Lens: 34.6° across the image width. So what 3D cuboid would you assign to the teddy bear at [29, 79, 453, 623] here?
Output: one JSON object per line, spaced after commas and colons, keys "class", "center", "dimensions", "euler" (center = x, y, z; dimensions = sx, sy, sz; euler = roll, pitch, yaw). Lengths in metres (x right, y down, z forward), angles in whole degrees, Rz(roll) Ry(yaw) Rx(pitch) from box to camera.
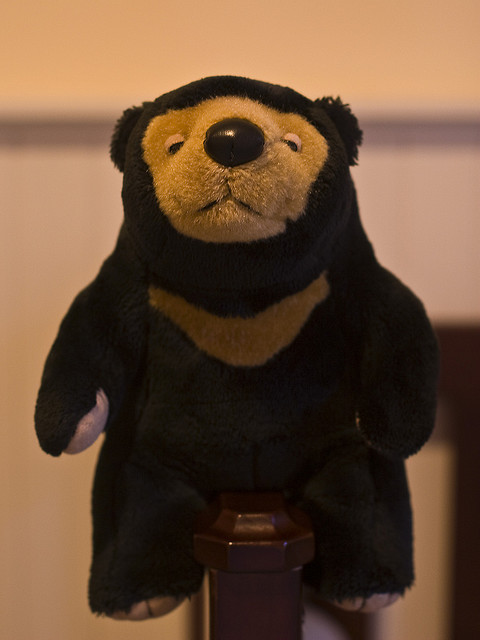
{"class": "teddy bear", "center": [-0.001, 0.022, 0.577], "dimensions": [0.292, 0.374, 0.217], "euler": [1, 25, 10]}
